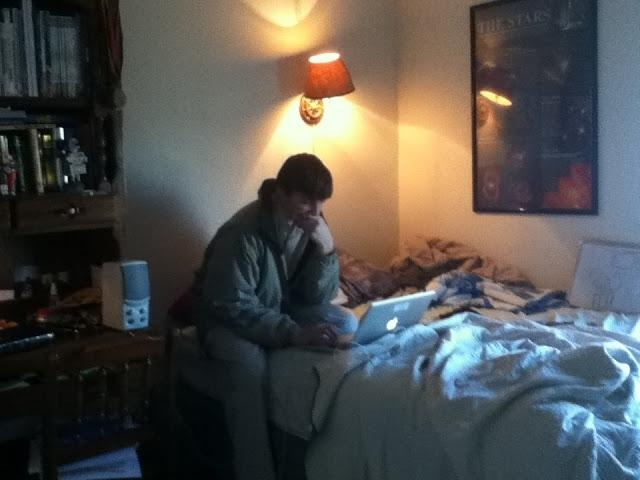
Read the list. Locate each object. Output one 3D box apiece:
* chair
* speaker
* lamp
[{"bbox_3d":[-0.775,0.577,1.871,0.442,0.458,0.437,-6,10,-32],"label":"chair"},{"bbox_3d":[-0.737,0.208,1.956,0.175,0.253,0.127,-3,9,-16],"label":"speaker"},{"bbox_3d":[0.042,-0.914,3.257,0.337,0.415,0.323,17,38,39],"label":"lamp"}]
